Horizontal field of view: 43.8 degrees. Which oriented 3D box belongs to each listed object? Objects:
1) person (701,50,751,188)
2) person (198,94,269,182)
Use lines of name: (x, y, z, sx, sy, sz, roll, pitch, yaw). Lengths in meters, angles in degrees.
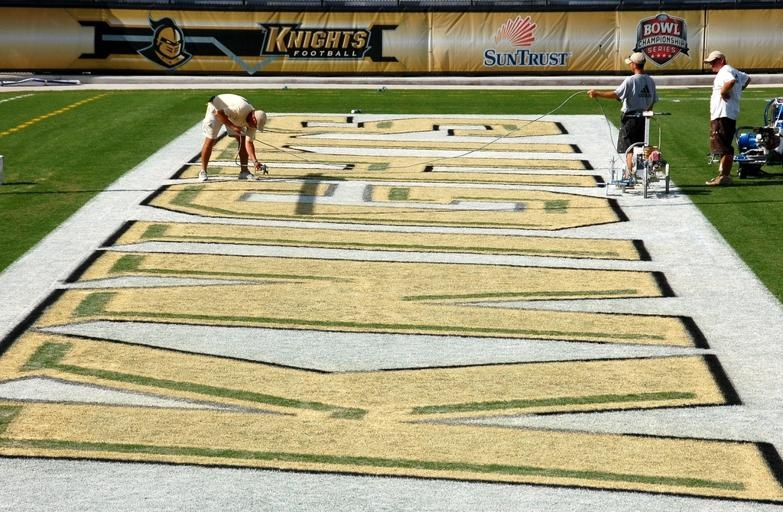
person: (5.626, -2.367, 16.472, 0.684, 2.160, 1.499, 7, 23, 17)
person: (-2.629, -1.982, 16.440, 1.131, 1.459, 0.667, 2, 23, 6)
